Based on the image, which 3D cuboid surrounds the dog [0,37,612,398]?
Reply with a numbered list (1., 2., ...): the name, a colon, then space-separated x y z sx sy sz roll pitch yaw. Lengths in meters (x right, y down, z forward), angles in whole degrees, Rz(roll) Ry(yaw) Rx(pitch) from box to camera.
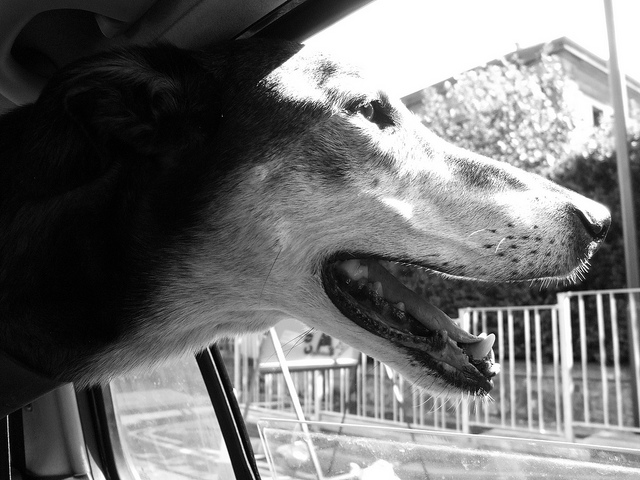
1. dog: -0.150 -0.016 2.236 1.664 0.579 1.048 3 -13 -13
